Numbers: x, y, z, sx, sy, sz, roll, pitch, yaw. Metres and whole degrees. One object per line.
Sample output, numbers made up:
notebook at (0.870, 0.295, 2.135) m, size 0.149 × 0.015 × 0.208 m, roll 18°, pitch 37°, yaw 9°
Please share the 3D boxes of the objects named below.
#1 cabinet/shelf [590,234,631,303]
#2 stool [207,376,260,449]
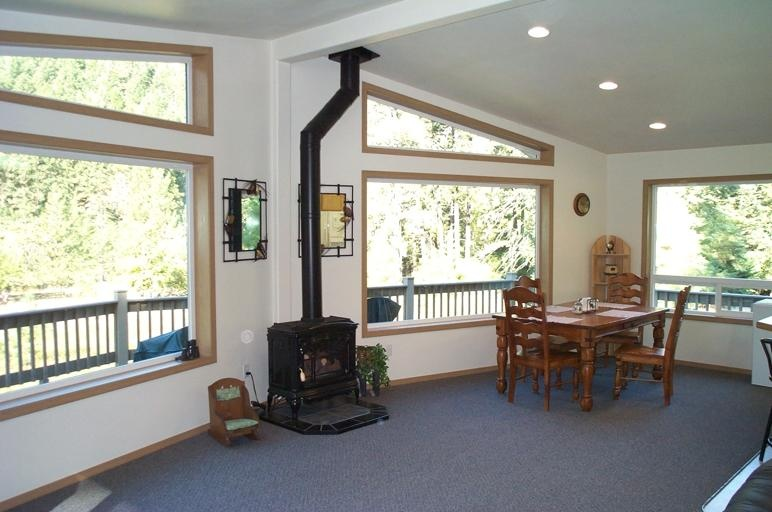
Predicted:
cabinet/shelf at (3.428, 0.159, 8.276) m, size 0.529 × 0.329 × 1.305 m, roll -4°, pitch -34°, yaw 19°
stool at (-1.504, 1.586, 5.419) m, size 0.468 × 0.572 × 0.445 m, roll 1°, pitch -2°, yaw 35°
